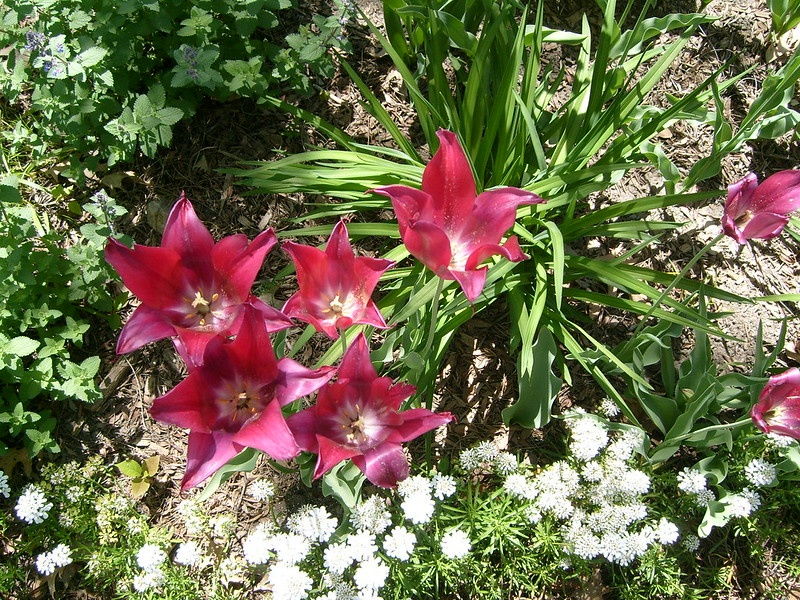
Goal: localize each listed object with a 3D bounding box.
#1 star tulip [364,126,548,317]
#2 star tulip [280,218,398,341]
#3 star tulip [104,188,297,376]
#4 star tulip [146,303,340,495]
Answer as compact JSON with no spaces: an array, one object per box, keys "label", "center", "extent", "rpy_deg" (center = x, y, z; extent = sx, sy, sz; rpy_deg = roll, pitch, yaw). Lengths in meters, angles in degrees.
[{"label":"star tulip","center":[0.182,-0.247,1.808],"extent":[0.418,0.372,0.337],"rpy_deg":[26,48,26]},{"label":"star tulip","center":[-0.195,-0.050,1.910],"extent":[0.366,0.374,0.187],"rpy_deg":[-7,68,9]},{"label":"star tulip","center":[-0.591,-0.048,1.988],"extent":[0.476,0.222,0.534],"rpy_deg":[37,89,4]},{"label":"star tulip","center":[-0.473,0.243,1.774],"extent":[0.486,0.251,0.546],"rpy_deg":[-30,50,-11]}]
